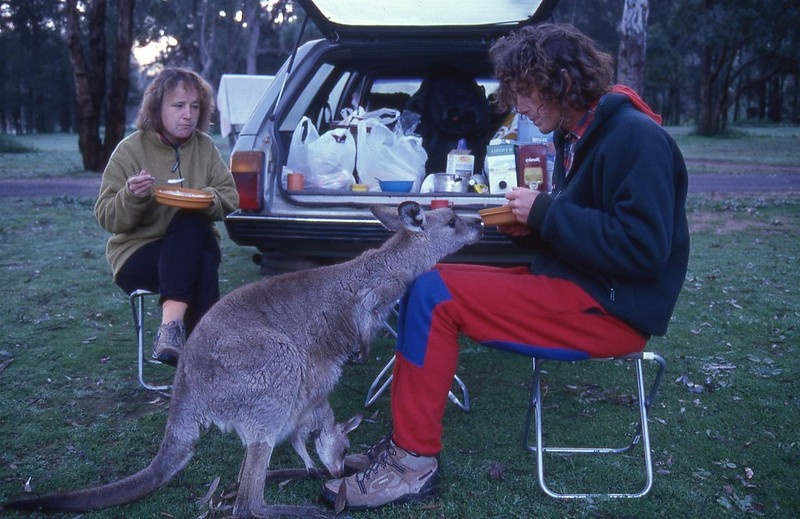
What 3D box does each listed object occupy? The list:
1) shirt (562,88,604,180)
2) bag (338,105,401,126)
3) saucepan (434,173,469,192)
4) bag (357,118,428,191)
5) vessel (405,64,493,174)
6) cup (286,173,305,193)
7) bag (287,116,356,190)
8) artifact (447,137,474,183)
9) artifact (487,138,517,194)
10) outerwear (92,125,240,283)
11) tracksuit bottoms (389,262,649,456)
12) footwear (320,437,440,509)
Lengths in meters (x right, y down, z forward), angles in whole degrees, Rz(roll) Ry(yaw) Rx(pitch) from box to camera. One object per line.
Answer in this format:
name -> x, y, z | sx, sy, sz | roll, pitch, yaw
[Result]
shirt -> 1.344, -0.892, 4.895 | 0.231, 0.432, 0.300 | 15, 13, 17
bag -> -0.335, -1.610, 7.250 | 0.536, 0.161, 0.369 | -2, 8, 5
saucepan -> 0.525, -0.790, 6.642 | 0.270, 0.126, 0.232 | -2, -3, 12
bag -> 0.012, -1.117, 6.924 | 0.650, 0.738, 0.502 | 20, 8, 39
vessel -> 0.590, -1.628, 7.148 | 0.852, 1.283, 0.510 | 4, -1, 7
cup -> -1.032, -0.752, 6.376 | 0.124, 0.193, 0.207 | -3, -5, 21
bag -> -0.752, -1.042, 6.612 | 0.741, 0.821, 0.599 | 7, -8, -3
artifact -> 0.662, -1.063, 6.827 | 0.264, 0.374, 0.276 | 7, 16, 29
artifact -> 1.030, -0.912, 6.462 | 0.343, 0.492, 0.339 | -16, 18, -32
outerwear -> -2.070, -0.614, 5.971 | 1.272, 1.522, 1.183 | -7, 8, -40
tracksuit bottoms -> 0.808, 0.693, 5.068 | 1.638, 1.339, 1.172 | 6, 0, -6
footwear -> -0.138, 1.475, 4.757 | 0.887, 0.606, 0.323 | -6, 30, -2
